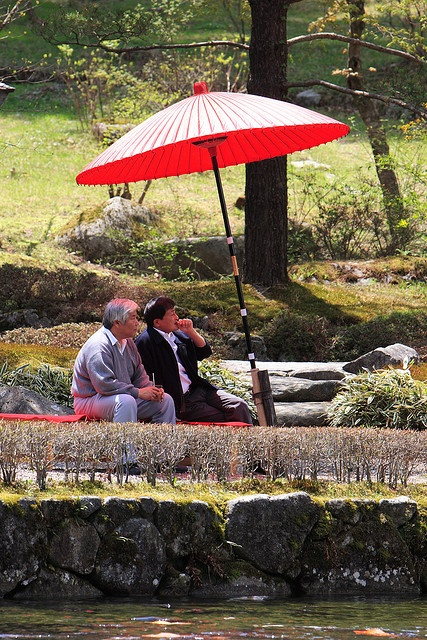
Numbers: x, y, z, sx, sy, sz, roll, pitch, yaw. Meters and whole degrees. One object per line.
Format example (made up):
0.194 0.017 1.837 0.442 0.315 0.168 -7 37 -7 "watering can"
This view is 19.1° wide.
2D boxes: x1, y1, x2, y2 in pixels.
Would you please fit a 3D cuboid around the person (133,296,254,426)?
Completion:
-0.160 0.504 12.304 1.100 1.490 0.810 1 14 20 "person"

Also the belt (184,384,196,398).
-0.211 0.696 12.400 0.033 0.113 0.113 35 -8 -2 "belt"

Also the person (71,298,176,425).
-0.856 0.378 11.616 0.826 1.129 0.743 11 13 42 "person"

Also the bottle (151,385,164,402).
-0.497 0.687 11.603 0.123 0.124 0.124 0 -1 -2 "bottle"
